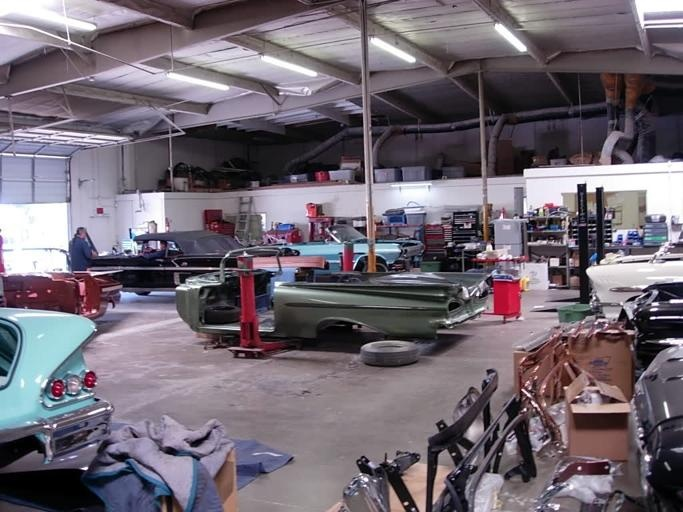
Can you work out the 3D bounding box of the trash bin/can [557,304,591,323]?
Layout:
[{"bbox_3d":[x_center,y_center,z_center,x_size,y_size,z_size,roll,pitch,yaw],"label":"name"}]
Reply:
[{"bbox_3d":[3.273,0.790,7.452,0.413,0.155,0.558,-2,-2,30],"label":"trash bin/can"}]

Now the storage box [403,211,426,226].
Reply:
[{"bbox_3d":[2.306,-1.215,16.895,0.950,0.348,0.527,3,-7,7],"label":"storage box"}]
